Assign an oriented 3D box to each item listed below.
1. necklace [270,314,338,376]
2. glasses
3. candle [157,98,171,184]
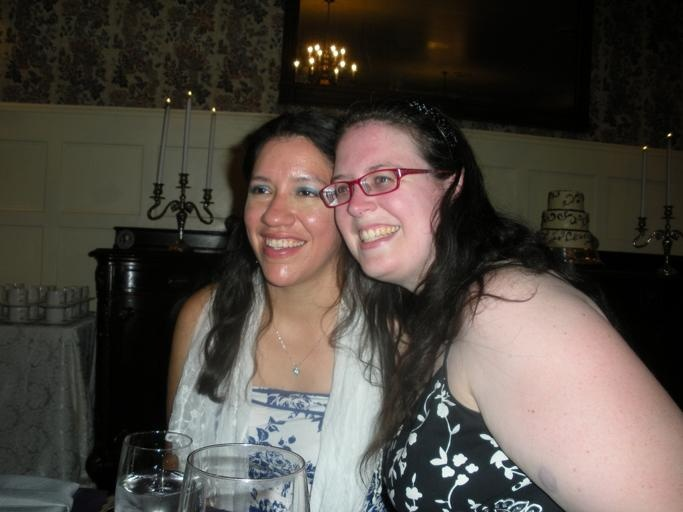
[{"bbox_3d":[-0.164,0.419,3.119,0.234,0.300,0.054,1,-9,-2],"label":"necklace"},{"bbox_3d":[0.102,-0.284,2.621,0.235,0.070,0.229,-16,-9,39],"label":"glasses"},{"bbox_3d":[-1.102,-0.699,4.146,0.035,0.517,0.035,4,-4,26],"label":"candle"}]
